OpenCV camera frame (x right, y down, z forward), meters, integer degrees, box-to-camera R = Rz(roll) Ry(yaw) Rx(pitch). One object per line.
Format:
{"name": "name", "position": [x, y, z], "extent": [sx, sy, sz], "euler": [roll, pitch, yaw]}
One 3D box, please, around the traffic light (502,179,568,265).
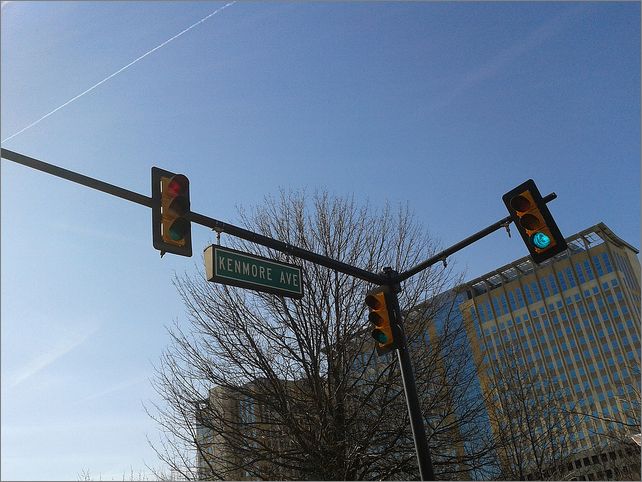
{"name": "traffic light", "position": [4.537, -0.405, 12.397], "extent": [1.089, 1.709, 0.360], "euler": [3, -14, 4]}
